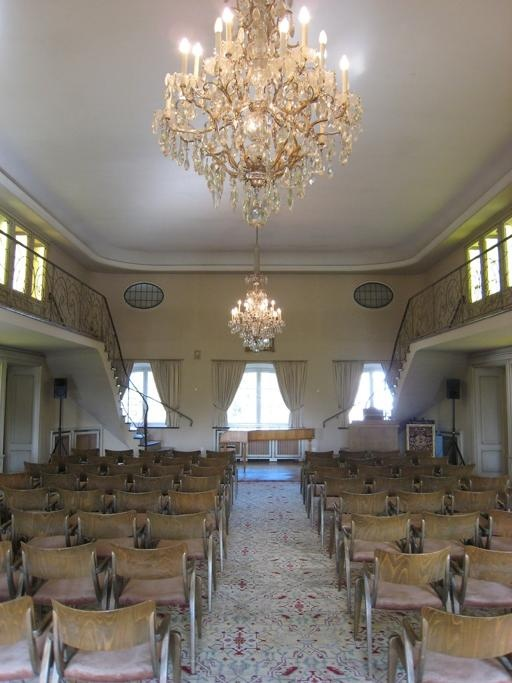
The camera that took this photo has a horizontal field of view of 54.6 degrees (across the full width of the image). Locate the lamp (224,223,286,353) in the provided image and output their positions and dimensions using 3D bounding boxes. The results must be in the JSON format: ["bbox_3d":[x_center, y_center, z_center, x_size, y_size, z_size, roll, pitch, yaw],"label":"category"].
[{"bbox_3d":[0.064,-0.893,9.084,0.706,2.170,0.775,0,-14,-15],"label":"lamp"}]
